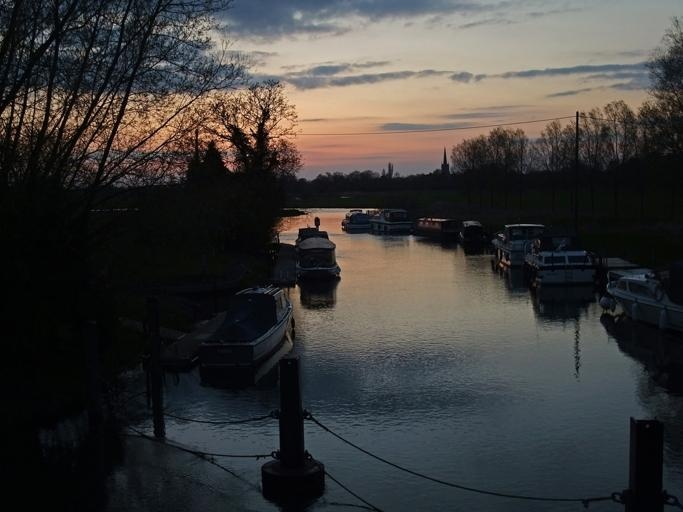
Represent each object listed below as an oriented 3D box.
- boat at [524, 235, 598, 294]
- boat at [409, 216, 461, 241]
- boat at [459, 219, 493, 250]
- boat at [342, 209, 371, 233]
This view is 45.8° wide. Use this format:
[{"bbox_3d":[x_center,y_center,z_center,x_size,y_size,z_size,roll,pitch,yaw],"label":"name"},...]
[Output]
[{"bbox_3d":[12.383,0.548,46.033,3.002,2.600,6.997,0,2,10],"label":"boat"},{"bbox_3d":[10.173,-2.951,83.930,1.855,1.970,8.119,-1,4,-9],"label":"boat"},{"bbox_3d":[11.851,-1.931,71.596,1.555,2.277,4.830,0,11,6],"label":"boat"},{"bbox_3d":[1.814,-4.247,97.289,3.278,1.905,3.828,-9,14,-36],"label":"boat"}]
